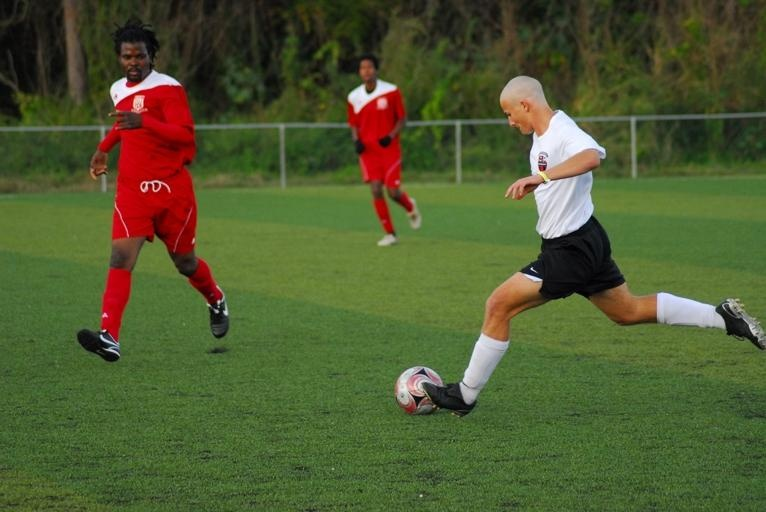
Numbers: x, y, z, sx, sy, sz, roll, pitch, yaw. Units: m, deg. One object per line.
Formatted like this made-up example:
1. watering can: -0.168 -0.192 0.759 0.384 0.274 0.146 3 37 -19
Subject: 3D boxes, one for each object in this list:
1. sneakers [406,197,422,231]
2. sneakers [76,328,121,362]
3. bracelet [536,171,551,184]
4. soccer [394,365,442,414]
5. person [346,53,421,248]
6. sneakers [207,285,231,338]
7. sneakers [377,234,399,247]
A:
1. sneakers: 0.382 -0.563 14.973 0.172 0.450 0.204 -8 14 24
2. sneakers: -2.291 0.717 8.642 0.297 0.341 0.187 -6 16 -16
3. bracelet: 1.180 -0.569 7.959 0.031 0.083 0.084 -38 -25 7
4. soccer: 0.219 1.005 8.350 0.369 0.341 0.331 -4 47 -11
5. person: -0.010 -1.338 14.248 0.901 2.496 1.136 -1 16 1
6. sneakers: -1.543 0.507 9.894 0.178 0.481 0.217 -9 0 5
7. sneakers: 0.043 -0.196 14.151 0.272 0.104 0.133 -3 5 -6
